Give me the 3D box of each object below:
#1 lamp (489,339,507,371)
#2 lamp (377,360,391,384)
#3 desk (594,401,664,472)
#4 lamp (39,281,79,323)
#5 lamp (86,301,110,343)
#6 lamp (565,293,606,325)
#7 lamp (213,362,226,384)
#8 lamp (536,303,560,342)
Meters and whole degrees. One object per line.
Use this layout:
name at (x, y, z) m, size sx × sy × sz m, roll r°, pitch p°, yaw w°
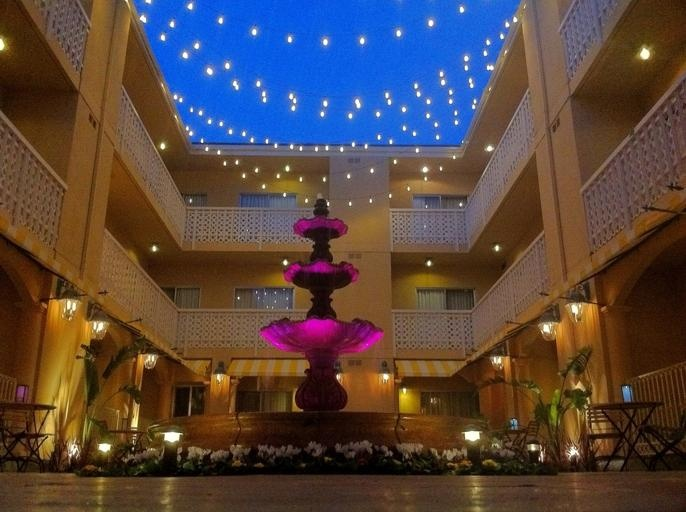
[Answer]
lamp at (4.222, 2.667, 14.560) m, size 0.429 × 0.701 × 0.949 m, roll -5°, pitch -26°, yaw 13°
lamp at (1.340, 3.679, 17.208) m, size 0.412 × 0.733 × 0.439 m, roll -1°, pitch -24°, yaw 4°
desk at (4.930, 3.101, 9.183) m, size 0.948 × 1.134 × 0.730 m, roll 5°, pitch -36°, yaw 7°
lamp at (-5.348, 0.909, 10.080) m, size 0.928 × 0.581 × 0.595 m, roll -4°, pitch -9°, yaw 23°
lamp at (-5.225, 1.359, 11.289) m, size 0.717 × 0.810 × 0.380 m, roll -21°, pitch -32°, yaw 39°
lamp at (4.514, 1.000, 10.074) m, size 0.779 × 0.534 × 0.365 m, roll 9°, pitch -19°, yaw -16°
lamp at (-3.880, 3.634, 16.759) m, size 0.370 × 0.581 × 0.473 m, roll 6°, pitch -25°, yaw -12°
lamp at (4.219, 1.308, 10.970) m, size 0.480 × 0.812 × 0.399 m, roll 0°, pitch -15°, yaw -6°
